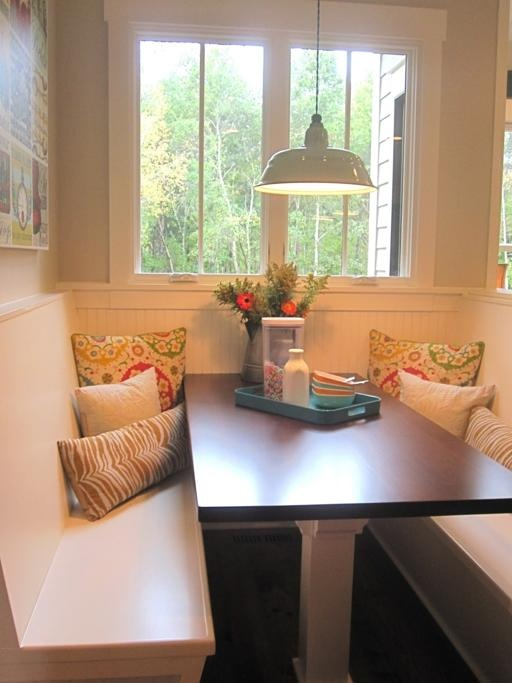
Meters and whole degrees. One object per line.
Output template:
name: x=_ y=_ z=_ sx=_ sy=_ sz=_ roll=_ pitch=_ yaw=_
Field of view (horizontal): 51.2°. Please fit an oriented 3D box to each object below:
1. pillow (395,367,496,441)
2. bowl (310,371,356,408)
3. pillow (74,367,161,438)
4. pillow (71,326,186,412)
pillow: x=0.751 y=0.249 z=2.094 sx=0.084 sy=0.180 sz=0.241 roll=34 pitch=-10 yaw=-36
bowl: x=0.266 y=0.165 z=1.855 sx=0.138 sy=0.096 sz=0.115 roll=0 pitch=1 yaw=-6
pillow: x=-0.538 y=0.243 z=2.071 sx=0.089 sy=0.177 sz=0.237 roll=1 pitch=10 yaw=40
pillow: x=-0.537 y=0.129 z=2.290 sx=0.357 sy=0.278 sz=0.135 roll=-3 pitch=9 yaw=-31
